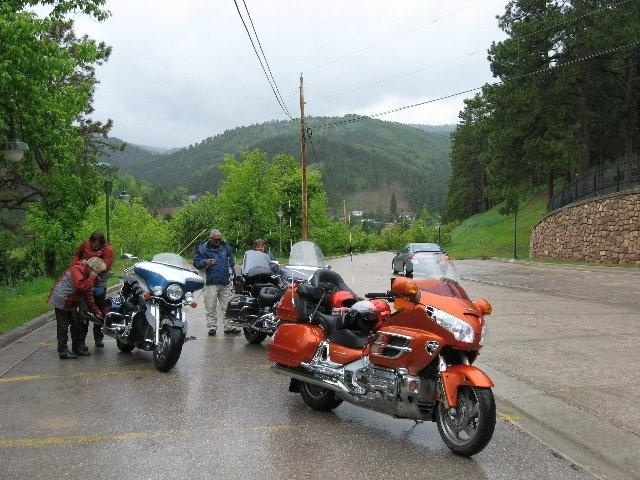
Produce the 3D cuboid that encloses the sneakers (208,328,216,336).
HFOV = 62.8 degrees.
[{"bbox_3d":[-2.461,2.124,12.005,0.107,0.146,0.150,2,-7,-8],"label":"sneakers"}]

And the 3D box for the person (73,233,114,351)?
[{"bbox_3d":[-4.711,0.970,10.860,0.788,2.325,0.811,1,-4,-28],"label":"person"}]

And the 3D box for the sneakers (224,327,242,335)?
[{"bbox_3d":[-2.022,2.115,12.203,0.377,0.188,0.138,2,0,-5],"label":"sneakers"}]

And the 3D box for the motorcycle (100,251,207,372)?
[{"bbox_3d":[-3.059,1.289,9.852,2.103,1.984,0.863,2,4,41],"label":"motorcycle"}]

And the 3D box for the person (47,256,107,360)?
[{"bbox_3d":[-4.608,1.295,10.119,1.273,1.967,0.760,1,4,26],"label":"person"}]
